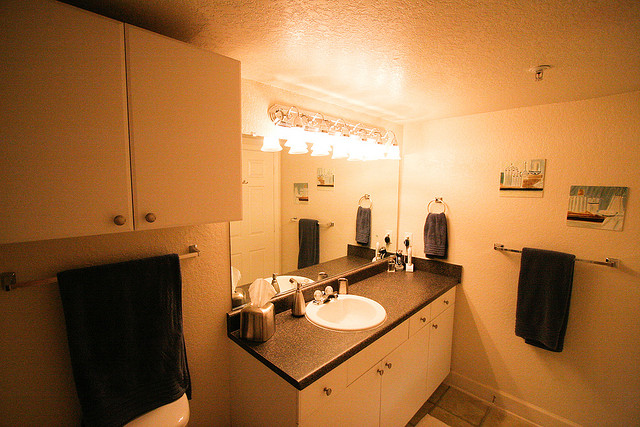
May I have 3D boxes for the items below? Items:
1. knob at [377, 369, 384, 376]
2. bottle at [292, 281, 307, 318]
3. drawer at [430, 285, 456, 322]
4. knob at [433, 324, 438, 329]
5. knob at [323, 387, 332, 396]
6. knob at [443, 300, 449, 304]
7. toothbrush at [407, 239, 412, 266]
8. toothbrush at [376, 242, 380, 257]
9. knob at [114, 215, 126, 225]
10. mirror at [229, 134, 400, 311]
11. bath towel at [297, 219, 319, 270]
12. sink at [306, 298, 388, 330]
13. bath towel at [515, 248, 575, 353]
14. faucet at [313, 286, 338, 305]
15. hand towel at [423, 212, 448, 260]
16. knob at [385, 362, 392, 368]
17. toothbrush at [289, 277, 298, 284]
[{"bbox_3d":[0.413,1.079,3.064,0.027,0.028,0.048,24,-14,-31],"label":"knob"},{"bbox_3d":[-0.149,0.617,3.205,0.094,0.220,0.102,1,6,0],"label":"bottle"},{"bbox_3d":[1.008,0.745,3.696,0.195,0.070,0.312,5,8,40],"label":"drawer"},{"bbox_3d":[0.925,0.904,3.611,0.034,0.037,0.031,-13,37,-6],"label":"knob"},{"bbox_3d":[0.053,1.085,2.748,0.055,0.031,0.033,14,-25,16],"label":"knob"},{"bbox_3d":[1.061,0.741,3.771,0.025,0.023,0.023,23,-15,-41],"label":"knob"},{"bbox_3d":[0.826,0.356,4.117,0.038,0.232,0.087,2,6,10],"label":"toothbrush"},{"bbox_3d":[0.516,0.318,4.017,0.005,0.125,0.052,6,8,43],"label":"toothbrush"},{"bbox_3d":[-1.060,0.035,2.375,0.027,0.046,0.045,7,29,39],"label":"knob"},{"bbox_3d":[0.029,0.030,3.509,1.673,1.171,0.092,-4,8,-44],"label":"mirror"},{"bbox_3d":[-0.110,0.238,3.438,0.188,0.382,0.064,5,-6,-32],"label":"bath towel"},{"bbox_3d":[0.186,0.739,3.209,0.572,0.165,0.440,1,5,-1],"label":"sink"},{"bbox_3d":[1.722,0.683,3.488,0.126,0.802,0.375,-6,12,-40],"label":"bath towel"},{"bbox_3d":[0.042,0.597,3.346,0.197,0.124,0.108,0,6,-8],"label":"faucet"},{"bbox_3d":[1.056,0.118,4.013,0.262,0.111,0.373,4,35,19],"label":"hand towel"},{"bbox_3d":[0.482,1.052,3.125,0.036,0.010,0.036,21,18,40],"label":"knob"},{"bbox_3d":[-0.197,0.497,3.334,0.044,0.043,0.010,14,0,-32],"label":"toothbrush"}]
